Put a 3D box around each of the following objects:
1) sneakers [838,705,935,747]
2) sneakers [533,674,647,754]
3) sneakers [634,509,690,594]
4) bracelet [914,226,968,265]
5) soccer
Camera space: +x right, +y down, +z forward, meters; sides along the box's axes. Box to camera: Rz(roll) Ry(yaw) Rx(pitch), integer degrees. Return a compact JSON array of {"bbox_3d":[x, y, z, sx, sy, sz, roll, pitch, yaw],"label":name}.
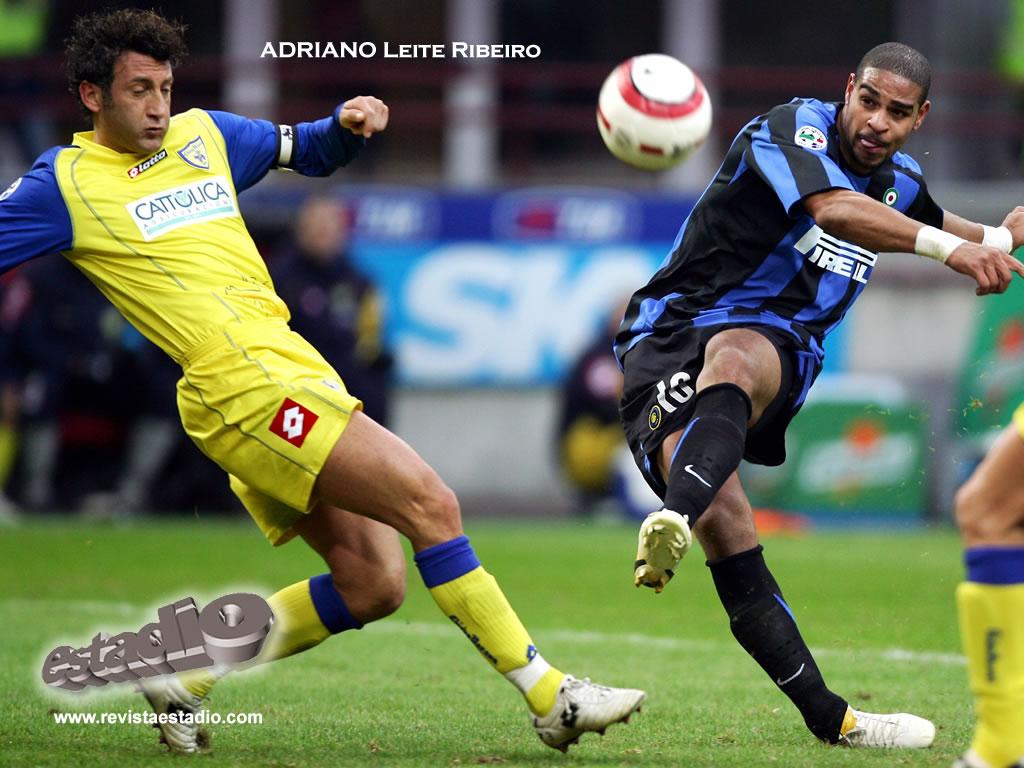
[{"bbox_3d":[1.490,1.360,5.150,0.397,0.144,0.170,-1,-5,19],"label":"sneakers"},{"bbox_3d":[0.272,1.205,4.819,0.469,0.257,0.165,-28,-20,26],"label":"sneakers"},{"bbox_3d":[0.550,0.591,4.757,0.179,0.313,0.127,13,40,-1],"label":"sneakers"},{"bbox_3d":[1.626,-0.524,4.912,0.163,0.132,0.068,21,-6,14],"label":"bracelet"},{"bbox_3d":[0.591,-1.126,5.591,0.471,0.360,0.477,0,58,-5],"label":"soccer"}]
